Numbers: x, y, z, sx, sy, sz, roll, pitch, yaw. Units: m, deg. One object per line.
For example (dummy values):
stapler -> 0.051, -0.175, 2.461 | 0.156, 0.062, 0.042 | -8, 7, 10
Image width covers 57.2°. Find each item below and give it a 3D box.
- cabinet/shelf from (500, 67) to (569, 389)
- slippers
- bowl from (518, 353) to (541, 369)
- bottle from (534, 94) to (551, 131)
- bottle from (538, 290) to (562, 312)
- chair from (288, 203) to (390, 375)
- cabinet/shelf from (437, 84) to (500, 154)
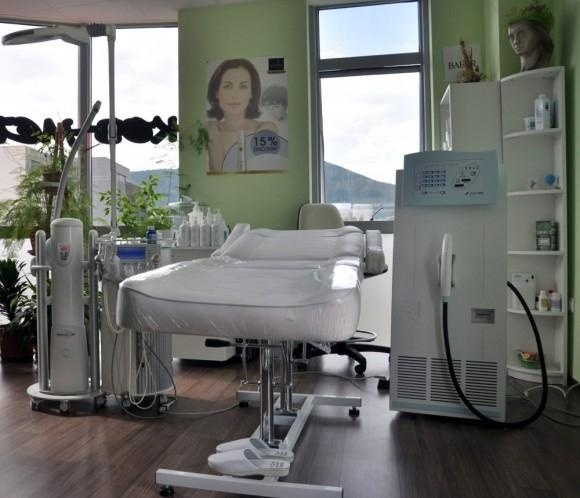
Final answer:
cabinet/shelf -> 1.584, -0.163, 3.468 | 0.418, 1.993, 0.309 | 1, 3, 25
slippers -> -0.165, 0.865, 2.200 | 0.232, 0.087, 0.184 | 0, -1, 6
bowl -> 1.548, 0.712, 3.454 | 0.119, 0.090, 0.145 | 0, 2, 21
bottle -> 1.613, -0.876, 3.404 | 0.093, 0.230, 0.102 | -1, 3, 0
bottle -> 1.652, 0.327, 3.392 | 0.083, 0.169, 0.154 | 2, 6, 17
chair -> 0.411, 0.240, 3.862 | 0.632, 1.245, 0.718 | -2, -3, 9
cabinet/shelf -> 1.324, -0.892, 3.874 | 0.192, 0.586, 0.606 | 0, 4, -3
